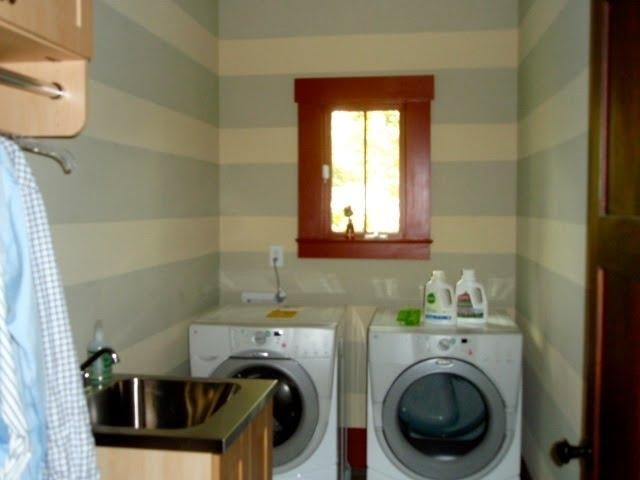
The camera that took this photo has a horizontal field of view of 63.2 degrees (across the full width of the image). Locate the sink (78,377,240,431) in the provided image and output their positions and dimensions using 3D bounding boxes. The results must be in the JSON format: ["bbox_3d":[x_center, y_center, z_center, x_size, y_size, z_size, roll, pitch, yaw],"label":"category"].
[{"bbox_3d":[-0.602,0.617,1.909,0.309,0.132,0.280,2,-1,3],"label":"sink"}]

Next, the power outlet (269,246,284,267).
[{"bbox_3d":[-0.273,0.100,3.328,0.109,0.173,0.021,1,6,5],"label":"power outlet"}]
